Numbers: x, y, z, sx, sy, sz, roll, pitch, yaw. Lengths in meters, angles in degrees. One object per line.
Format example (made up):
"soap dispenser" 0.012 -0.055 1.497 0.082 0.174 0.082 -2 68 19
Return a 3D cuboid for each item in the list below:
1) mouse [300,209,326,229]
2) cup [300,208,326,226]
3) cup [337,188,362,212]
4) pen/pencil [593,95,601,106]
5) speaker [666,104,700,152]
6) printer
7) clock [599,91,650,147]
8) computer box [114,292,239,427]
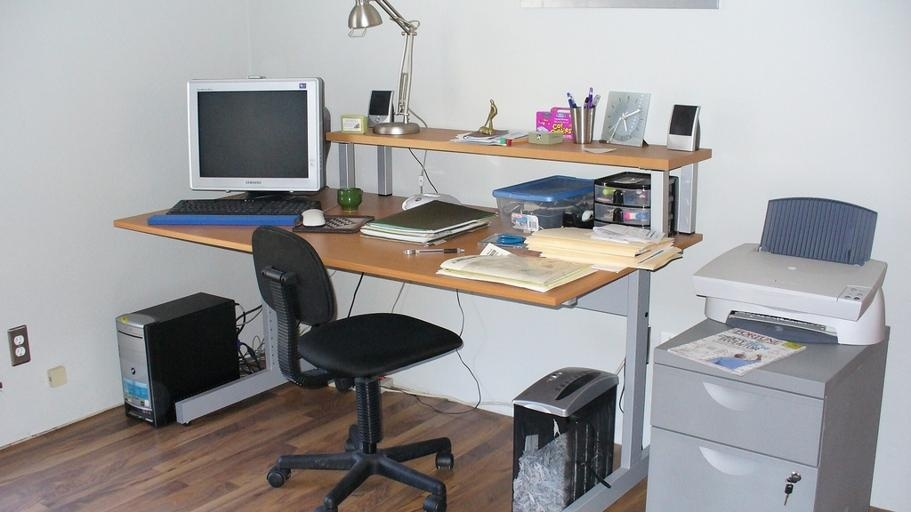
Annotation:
"mouse" -0.711 -0.183 3.381 0.118 0.061 0.089 4 10 27
"cup" -0.714 -0.199 3.395 0.087 0.055 0.110 2 4 35
"cup" -0.567 -0.305 3.669 0.135 0.092 0.133 0 16 0
"pen/pencil" 0.710 -0.787 3.404 0.029 0.024 0.095 27 42 10
"speaker" 1.090 -0.612 3.229 0.147 0.215 0.090 3 16 14
"printer" 1.491 0.070 2.936 0.854 0.492 0.702 11 25 36
"clock" 0.850 -0.679 3.366 0.293 0.293 0.053 10 1 30
"computer box" -1.606 0.595 4.002 0.394 0.569 0.638 8 16 29
